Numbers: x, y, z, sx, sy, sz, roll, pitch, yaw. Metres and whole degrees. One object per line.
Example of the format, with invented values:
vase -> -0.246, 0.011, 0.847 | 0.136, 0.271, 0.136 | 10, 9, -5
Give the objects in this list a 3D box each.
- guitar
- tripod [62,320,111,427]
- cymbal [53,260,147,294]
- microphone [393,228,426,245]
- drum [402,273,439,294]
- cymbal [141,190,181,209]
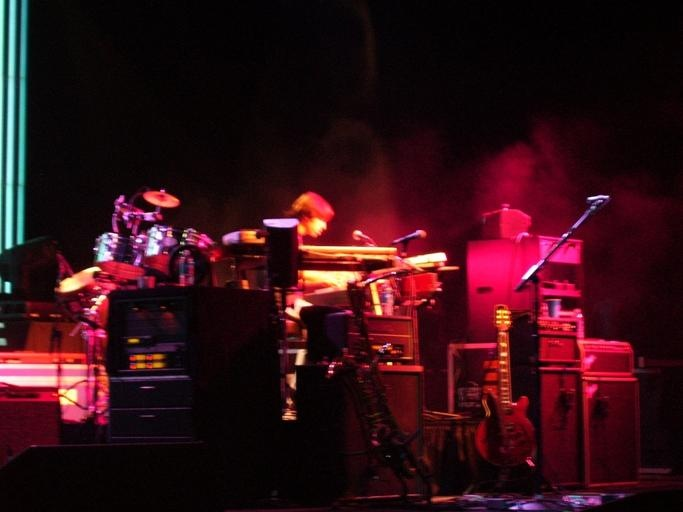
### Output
guitar -> 1.310, 1.025, 6.196 | 0.447, 1.293, 0.288 | 0, -11, 12
tripod -> -2.010, 0.902, 6.044 | 0.324, 0.773, 0.353 | -1, 0, 29
cymbal -> -1.882, 0.172, 6.023 | 0.515, 0.107, 0.472 | -15, -5, -5
microphone -> 0.470, -0.134, 5.901 | 0.138, 0.101, 0.663 | -9, 0, -14
drum -> 0.676, 0.247, 6.658 | 0.461, 0.221, 0.242 | -1, 3, 5
cymbal -> -1.616, -0.510, 6.989 | 0.278, 0.204, 0.320 | 2, -11, -1
